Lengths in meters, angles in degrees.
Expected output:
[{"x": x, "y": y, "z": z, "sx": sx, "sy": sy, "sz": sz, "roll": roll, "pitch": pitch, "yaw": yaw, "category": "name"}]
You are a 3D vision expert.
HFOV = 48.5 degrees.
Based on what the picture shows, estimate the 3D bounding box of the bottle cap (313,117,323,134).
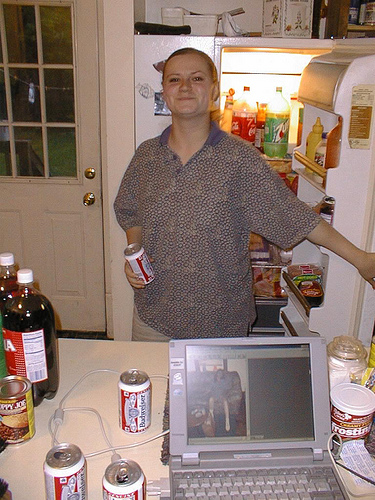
[{"x": 0.558, "y": -0.535, "z": 1.779, "sx": 0.038, "sy": 0.068, "sz": 0.060, "roll": 1, "pitch": 14, "yaw": 17, "category": "bottle cap"}]

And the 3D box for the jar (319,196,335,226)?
[{"x": 0.539, "y": -0.164, "z": 1.615, "sx": 0.053, "sy": 0.103, "sz": 0.212, "roll": 1, "pitch": 14, "yaw": 17, "category": "jar"}]

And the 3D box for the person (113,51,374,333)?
[{"x": 0.116, "y": -0.190, "z": 1.504, "sx": 0.747, "sy": 1.000, "sz": 0.509, "roll": -6, "pitch": 14, "yaw": -9, "category": "person"}]

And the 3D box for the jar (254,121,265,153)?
[{"x": 0.408, "y": -0.632, "z": 2.303, "sx": 0.052, "sy": 0.176, "sz": 0.130, "roll": -6, "pitch": 14, "yaw": -9, "category": "jar"}]

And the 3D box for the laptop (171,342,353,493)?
[{"x": 0.123, "y": 0.277, "z": 0.764, "sx": 0.309, "sy": 0.208, "sz": 0.258, "roll": 0, "pitch": 16, "yaw": -3, "category": "laptop"}]

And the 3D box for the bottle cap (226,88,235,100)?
[{"x": 0.245, "y": -0.911, "z": 2.429, "sx": 0.044, "sy": 0.061, "sz": 0.083, "roll": -2, "pitch": 14, "yaw": 6, "category": "bottle cap"}]

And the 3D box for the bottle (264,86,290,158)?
[{"x": 0.472, "y": -0.686, "z": 2.232, "sx": 0.204, "sy": 0.380, "sz": 0.200, "roll": 1, "pitch": 21, "yaw": 0, "category": "bottle"}]

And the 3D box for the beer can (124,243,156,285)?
[{"x": -0.160, "y": 0.049, "z": 1.380, "sx": 0.068, "sy": 0.115, "sz": 0.065, "roll": -15, "pitch": 21, "yaw": 6, "category": "beer can"}]

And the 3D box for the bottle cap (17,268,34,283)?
[{"x": -0.343, "y": 0.054, "z": 0.881, "sx": 0.031, "sy": 0.024, "sz": 0.031, "roll": 6, "pitch": 18, "yaw": -2, "category": "bottle cap"}]

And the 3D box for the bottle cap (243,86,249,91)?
[{"x": 0.322, "y": -0.895, "z": 2.290, "sx": 0.024, "sy": 0.024, "sz": 0.040, "roll": -2, "pitch": 14, "yaw": 8, "category": "bottle cap"}]
